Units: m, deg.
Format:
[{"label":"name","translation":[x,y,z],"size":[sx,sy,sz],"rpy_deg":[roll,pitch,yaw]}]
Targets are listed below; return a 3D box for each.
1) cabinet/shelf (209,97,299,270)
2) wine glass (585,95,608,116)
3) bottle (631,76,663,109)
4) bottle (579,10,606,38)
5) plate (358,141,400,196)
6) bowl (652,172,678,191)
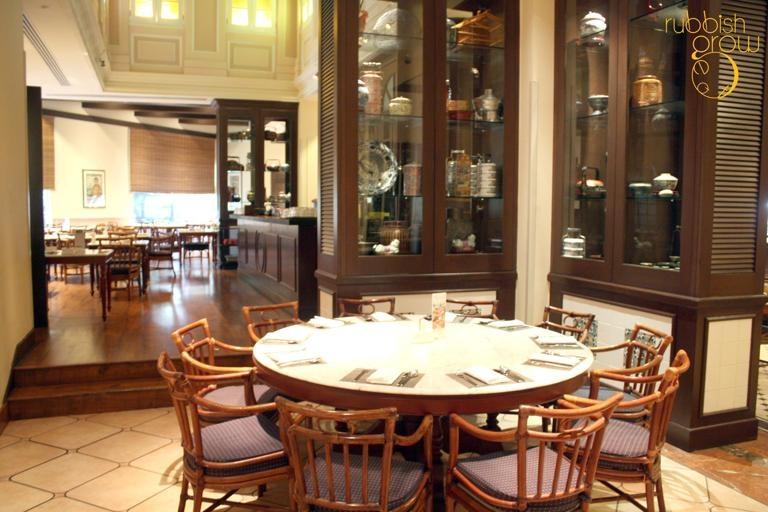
[{"label":"cabinet/shelf","translation":[-2.469,-1.355,11.380],"size":[1.803,3.238,1.043],"rpy_deg":[-2,6,0]},{"label":"wine glass","translation":[1.951,-1.394,5.390],"size":[0.178,0.147,0.172],"rpy_deg":[0,0,7]},{"label":"bottle","translation":[2.249,-1.398,4.997],"size":[0.250,0.249,0.240],"rpy_deg":[-1,2,-8]},{"label":"bottle","translation":[1.927,-2.130,5.420],"size":[0.232,0.210,0.229],"rpy_deg":[-3,7,-17]},{"label":"plate","translation":[-0.056,-0.802,5.398],"size":[0.470,0.437,0.163],"rpy_deg":[-7,2,-21]},{"label":"bowl","translation":[2.335,-0.622,4.869],"size":[0.141,0.093,0.136],"rpy_deg":[-1,-1,0]}]
